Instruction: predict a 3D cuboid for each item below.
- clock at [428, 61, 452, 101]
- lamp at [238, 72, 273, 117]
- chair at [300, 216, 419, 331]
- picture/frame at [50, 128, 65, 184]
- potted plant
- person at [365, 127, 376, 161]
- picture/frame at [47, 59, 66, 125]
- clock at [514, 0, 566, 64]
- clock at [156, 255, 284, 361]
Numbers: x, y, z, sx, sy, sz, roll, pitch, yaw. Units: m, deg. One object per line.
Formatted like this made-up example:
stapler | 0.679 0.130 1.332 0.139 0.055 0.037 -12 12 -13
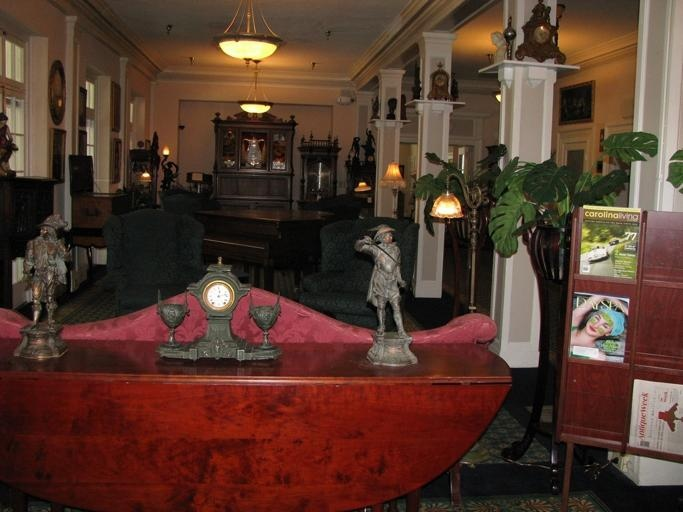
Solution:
clock | 1.252 -2.215 7.179 0.313 0.536 0.109 3 -8 -5
lamp | -1.792 -3.378 11.506 0.569 1.064 2.220 -2 5 -9
chair | 0.178 0.089 5.125 0.904 1.210 1.010 3 0 23
picture/frame | -3.553 -1.278 7.030 0.117 0.610 0.527 -2 5 -18
potted plant | 1.298 -0.310 3.277 0.850 0.474 0.881 -1 4 15
person | 0.598 -2.364 11.943 0.241 0.735 0.683 -1 5 3
picture/frame | -3.526 -2.013 6.938 0.120 0.793 0.596 -2 5 -17
clock | 1.622 -1.819 4.584 0.378 0.482 0.142 -2 5 -10
clock | -0.637 0.240 2.811 0.408 0.375 0.161 0 0 -3
